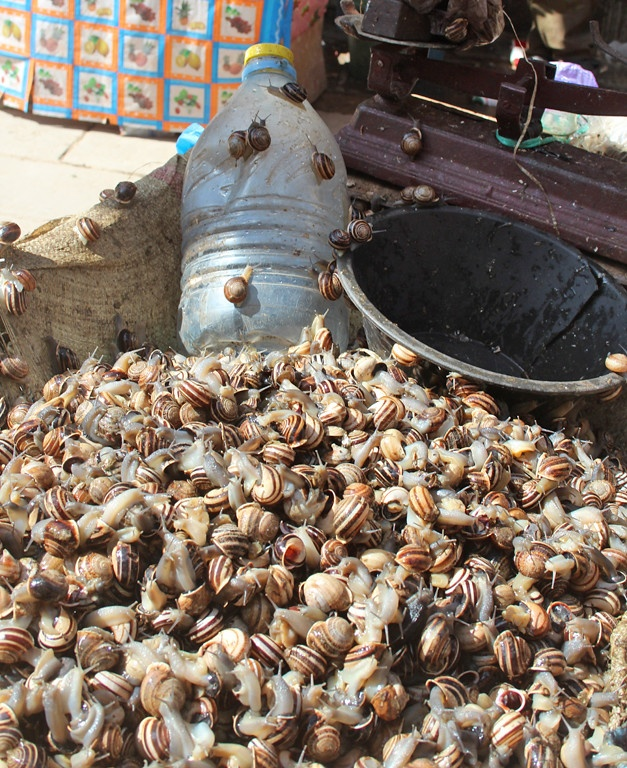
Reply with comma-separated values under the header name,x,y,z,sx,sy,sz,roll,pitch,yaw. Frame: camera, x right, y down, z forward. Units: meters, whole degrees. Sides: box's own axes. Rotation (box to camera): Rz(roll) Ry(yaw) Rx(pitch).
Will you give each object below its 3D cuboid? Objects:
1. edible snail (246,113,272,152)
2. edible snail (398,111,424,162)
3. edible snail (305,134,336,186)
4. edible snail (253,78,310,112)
name,x,y,z,sx,sy,sz,roll,pitch,yaw
edible snail,-0.159,-0.722,2.259,0.078,0.095,0.037,-3,14,-5
edible snail,0.310,-0.800,2.539,0.085,0.118,0.048,-3,-8,38
edible snail,0.026,-0.672,2.359,0.050,0.072,0.132,-21,51,19
edible snail,-0.087,-0.887,2.420,0.120,0.042,0.061,15,30,-7
